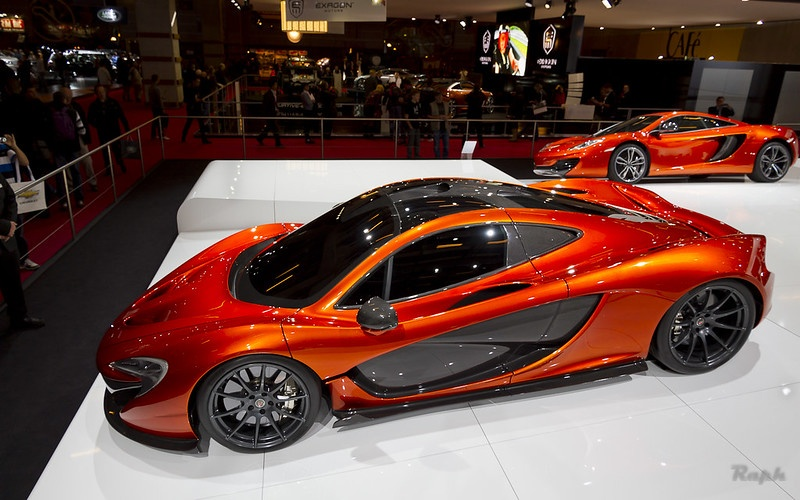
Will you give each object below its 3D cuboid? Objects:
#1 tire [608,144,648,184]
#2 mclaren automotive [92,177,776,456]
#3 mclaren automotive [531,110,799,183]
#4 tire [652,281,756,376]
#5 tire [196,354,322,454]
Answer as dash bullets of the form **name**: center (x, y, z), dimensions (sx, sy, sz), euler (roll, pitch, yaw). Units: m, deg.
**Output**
- **tire**: center (4.819, -1.837, 9.790), dimensions (0.985, 0.846, 0.311), euler (-3, 10, -13)
- **mclaren automotive**: center (0.603, 0.444, 4.655), dimensions (5.910, 1.471, 2.855), euler (-3, 24, -5)
- **mclaren automotive**: center (5.827, -2.109, 10.132), dimensions (4.214, 1.044, 2.127), euler (0, 17, -1)
- **tire**: center (3.096, 0.721, 4.778), dimensions (1.188, 1.038, 0.385), euler (-13, 19, -9)
- **tire**: center (-1.260, 1.348, 4.056), dimensions (1.060, 0.916, 0.323), euler (2, 5, -2)
